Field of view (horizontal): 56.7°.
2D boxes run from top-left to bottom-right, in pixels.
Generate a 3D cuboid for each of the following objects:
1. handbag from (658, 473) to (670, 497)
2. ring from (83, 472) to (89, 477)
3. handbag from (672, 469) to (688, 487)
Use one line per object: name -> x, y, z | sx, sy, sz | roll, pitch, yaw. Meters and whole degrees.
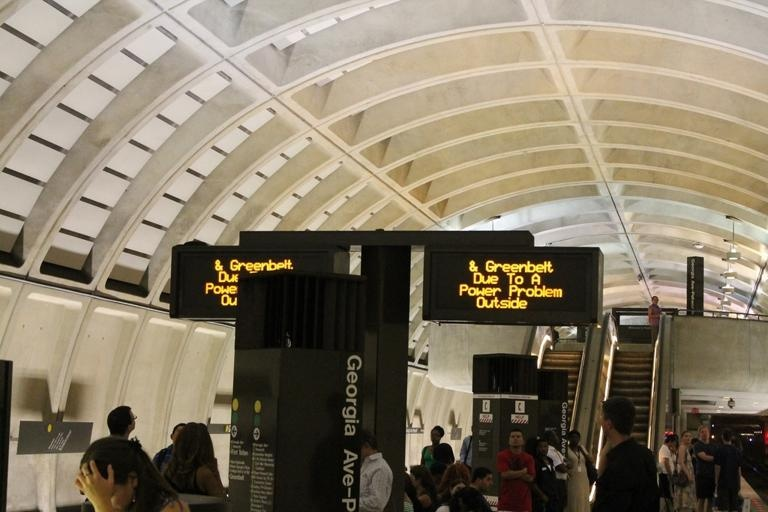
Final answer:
handbag -> 6.137, 5.024, 15.568 | 0.200, 0.515, 0.899 | -4, -17, 19
ring -> -2.742, 2.013, 6.560 | 0.040, 0.039, 0.041 | 2, 0, 0
handbag -> 7.120, 5.311, 17.086 | 0.385, 0.397, 0.205 | 1, -17, -1
